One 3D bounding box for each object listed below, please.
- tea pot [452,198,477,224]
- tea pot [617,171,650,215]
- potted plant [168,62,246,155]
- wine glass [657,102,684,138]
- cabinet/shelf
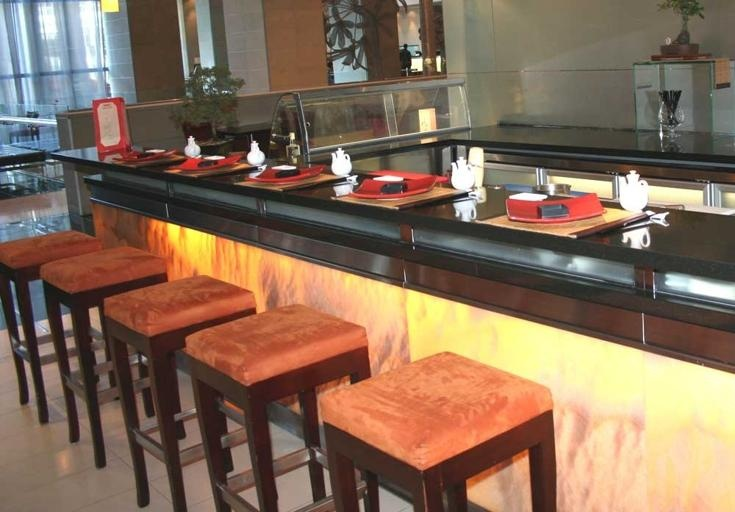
[{"bbox_3d":[0.346,-0.169,2.107,0.086,0.050,0.106,3,27,8],"label":"tea pot"},{"bbox_3d":[0.892,-0.218,1.988,0.079,0.139,0.179,1,16,24],"label":"tea pot"},{"bbox_3d":[-1.451,-1.347,5.403,0.665,0.727,0.543,8,27,5],"label":"potted plant"},{"bbox_3d":[2.064,-0.922,4.014,0.176,0.239,0.160,4,20,33],"label":"wine glass"},{"bbox_3d":[0.060,-1.043,4.376,1.722,0.460,0.400,-19,26,-40],"label":"cabinet/shelf"}]
